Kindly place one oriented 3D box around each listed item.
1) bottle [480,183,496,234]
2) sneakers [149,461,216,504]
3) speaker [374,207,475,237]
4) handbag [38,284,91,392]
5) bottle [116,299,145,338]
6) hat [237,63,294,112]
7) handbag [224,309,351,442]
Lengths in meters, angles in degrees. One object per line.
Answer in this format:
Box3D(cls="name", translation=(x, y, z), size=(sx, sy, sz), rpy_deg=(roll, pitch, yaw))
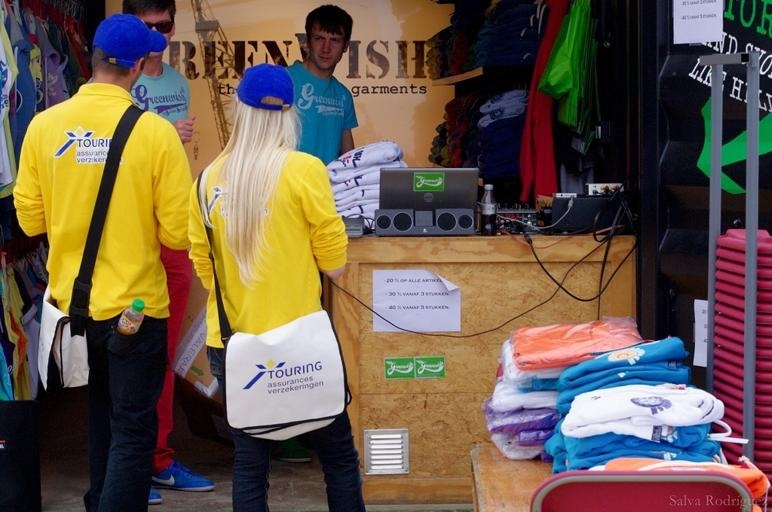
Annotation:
Box3D(cls="bottle", translation=(0.589, -0.274, 4.685), size=(0.096, 0.262, 0.221), rpy_deg=(1, 12, 7))
Box3D(cls="sneakers", translation=(-1.193, 1.299, 4.715), size=(0.438, 0.179, 0.151), rpy_deg=(0, -2, -12))
Box3D(cls="speaker", translation=(0.214, -0.191, 4.563), size=(0.546, 0.146, 0.039), rpy_deg=(-1, 11, 0))
Box3D(cls="handbag", translation=(-1.555, 0.427, 3.859), size=(0.273, 0.418, 0.114), rpy_deg=(1, 12, 11))
Box3D(cls="bottle", translation=(-1.205, 0.285, 3.827), size=(0.104, 0.179, 0.104), rpy_deg=(30, 22, -14))
Box3D(cls="hat", translation=(-0.533, -0.747, 3.586), size=(0.239, 0.204, 0.130), rpy_deg=(-3, 12, -12))
Box3D(cls="handbag", translation=(-0.447, 0.516, 3.540), size=(0.518, 0.531, 0.234), rpy_deg=(-9, 4, -15))
